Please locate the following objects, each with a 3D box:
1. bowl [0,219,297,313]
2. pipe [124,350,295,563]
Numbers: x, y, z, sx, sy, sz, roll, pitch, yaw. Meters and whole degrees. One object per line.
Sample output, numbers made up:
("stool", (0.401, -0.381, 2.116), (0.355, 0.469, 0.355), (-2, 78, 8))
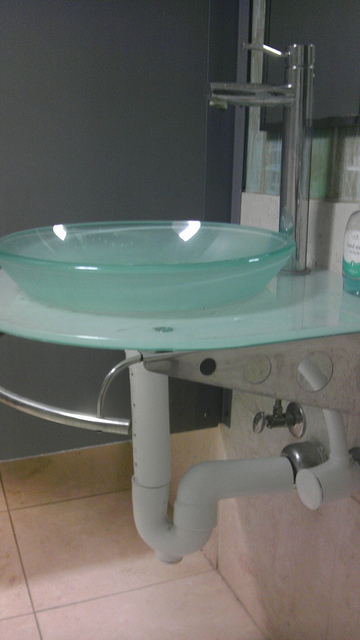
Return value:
("bowl", (-0.041, -0.075, 0.641), (0.354, 0.093, 0.407), (-1, 11, 13))
("pipe", (0.038, 0.210, 0.770), (0.235, 0.076, 0.335), (-3, 48, 0))
